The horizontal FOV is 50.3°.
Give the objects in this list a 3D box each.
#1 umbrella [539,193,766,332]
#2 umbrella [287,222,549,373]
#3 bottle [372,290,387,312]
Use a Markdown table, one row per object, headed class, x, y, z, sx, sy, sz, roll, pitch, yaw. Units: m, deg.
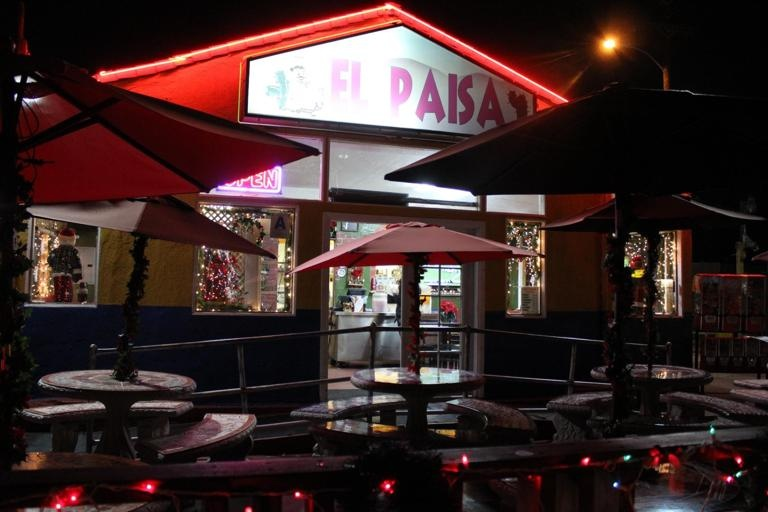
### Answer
| class | x | y | z | sx | sy | sz | roll | pitch | yaw |
| --- | --- | --- | --- | --- | --- | --- | --- | --- | --- |
| umbrella | 3.668 | 0.148 | 11.290 | 2.793 | 1.244 | 2.869 | -2 | 0 | 35 |
| umbrella | 0.332 | 0.556 | 7.966 | 2.012 | 0.995 | 1.843 | -5 | 4 | -16 |
| bottle | -0.087 | 0.811 | 14.648 | 0.358 | 0.336 | 0.342 | -2 | -4 | 20 |
